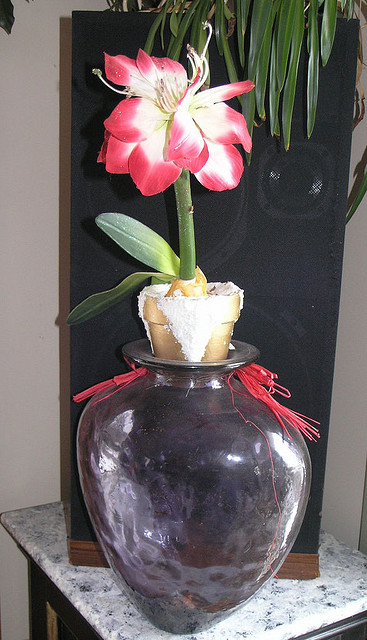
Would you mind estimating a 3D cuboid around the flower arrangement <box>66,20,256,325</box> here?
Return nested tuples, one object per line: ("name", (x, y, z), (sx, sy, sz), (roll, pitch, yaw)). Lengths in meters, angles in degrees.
("flower arrangement", (-0.019, -0.155, 0.574), (0.189, 0.278, 0.167), (-26, 48, -29))

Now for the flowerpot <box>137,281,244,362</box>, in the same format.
("flowerpot", (0.001, 0.007, 0.559), (0.105, 0.077, 0.109), (0, 8, -1))

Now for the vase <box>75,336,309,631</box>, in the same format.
("vase", (0.005, 0.112, 0.573), (0.237, 0.297, 0.254), (0, 0, -4))
